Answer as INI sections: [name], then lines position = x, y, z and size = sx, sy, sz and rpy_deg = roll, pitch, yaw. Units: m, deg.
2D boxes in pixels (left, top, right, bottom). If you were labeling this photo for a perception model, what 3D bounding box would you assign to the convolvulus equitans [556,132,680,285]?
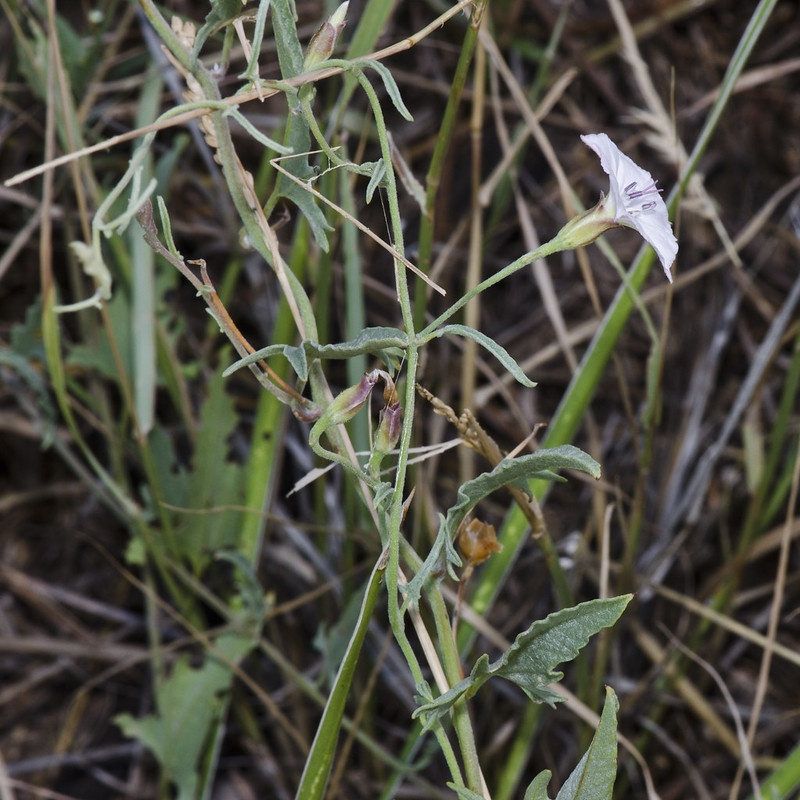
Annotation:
[convolvulus equitans]
position = 0.160, -0.133, 0.755
size = 0.096, 0.049, 0.116
rpy_deg = 3, 23, 4
